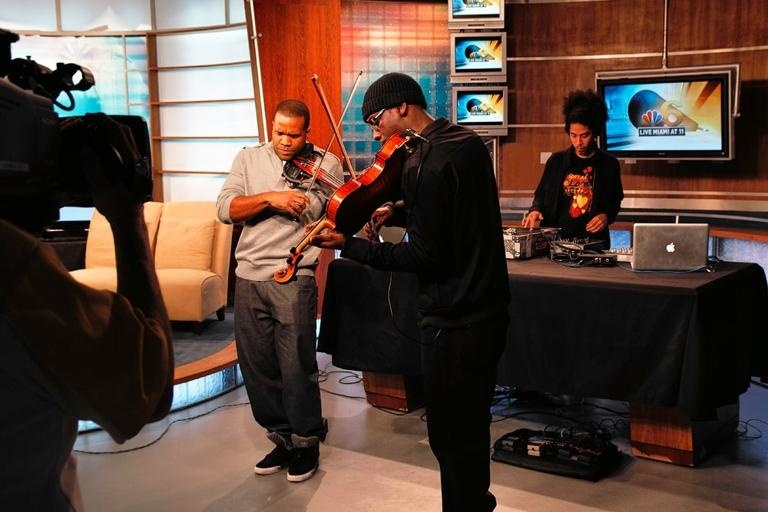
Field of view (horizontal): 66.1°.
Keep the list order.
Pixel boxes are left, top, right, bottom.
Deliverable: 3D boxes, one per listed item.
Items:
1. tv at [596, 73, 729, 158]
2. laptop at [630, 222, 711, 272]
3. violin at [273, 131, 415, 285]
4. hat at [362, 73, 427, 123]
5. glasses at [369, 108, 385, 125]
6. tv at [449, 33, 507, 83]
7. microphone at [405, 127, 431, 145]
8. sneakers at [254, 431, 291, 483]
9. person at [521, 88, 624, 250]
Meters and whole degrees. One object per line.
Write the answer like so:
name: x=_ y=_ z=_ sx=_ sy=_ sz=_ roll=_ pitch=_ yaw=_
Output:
tv: x=2.754 y=-1.375 z=5.722 sx=1.128 sy=0.768 sz=0.149 roll=2 pitch=5 yaw=19
laptop: x=1.537 y=-0.044 z=3.186 sx=0.376 sy=0.259 sz=0.251 roll=0 pitch=2 yaw=1
violin: x=-0.211 y=-0.274 z=2.504 sx=0.117 sy=0.329 sz=0.804 roll=35 pitch=67 yaw=19
hat: x=0.032 y=-0.637 z=2.416 sx=0.211 sy=0.140 sz=0.208 roll=-9 pitch=7 yaw=1
glasses: x=-0.037 y=-0.553 z=2.404 sx=0.029 sy=0.089 sz=0.035 roll=20 pitch=41 yaw=-25
tv: x=0.966 y=-2.061 z=6.122 sx=0.514 sy=0.437 sz=0.183 roll=0 pitch=1 yaw=5
microphone: x=0.131 y=-0.477 z=2.336 sx=0.062 sy=0.032 sz=0.098 roll=17 pitch=22 yaw=-46
sneakers: x=-0.598 y=1.108 z=3.345 sx=0.114 sy=0.205 sz=0.293 roll=-4 pitch=-4 yaw=42
person: x=1.358 y=-0.622 z=4.210 sx=0.642 sy=1.121 sz=0.724 roll=2 pitch=11 yaw=21
